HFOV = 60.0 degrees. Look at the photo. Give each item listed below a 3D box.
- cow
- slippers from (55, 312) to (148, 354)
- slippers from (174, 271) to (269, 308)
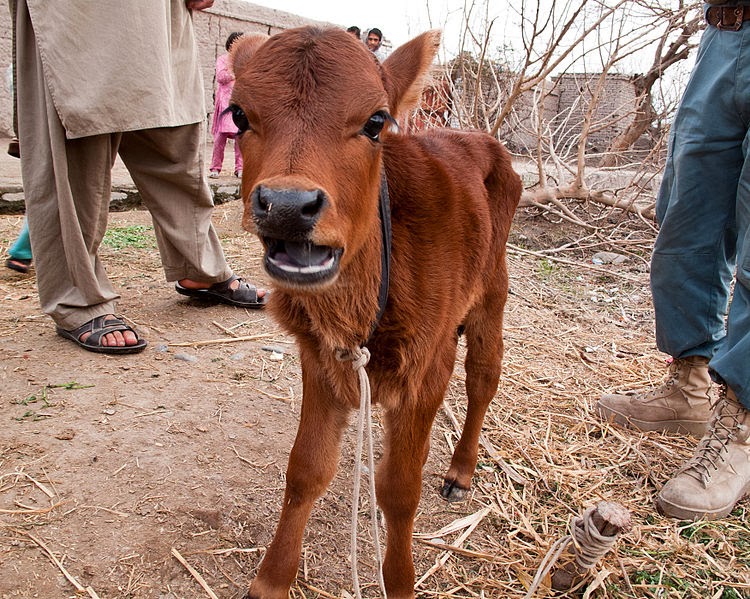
[{"bbox_3d":[0.035,0.001,2.711,0.937,2.115,1.483,6,22,14],"label":"cow"},{"bbox_3d":[-1.500,0.179,3.552,0.508,0.119,0.193,8,15,27],"label":"slippers"},{"bbox_3d":[-1.001,-0.058,4.157,0.505,0.128,0.177,7,22,-12],"label":"slippers"}]
